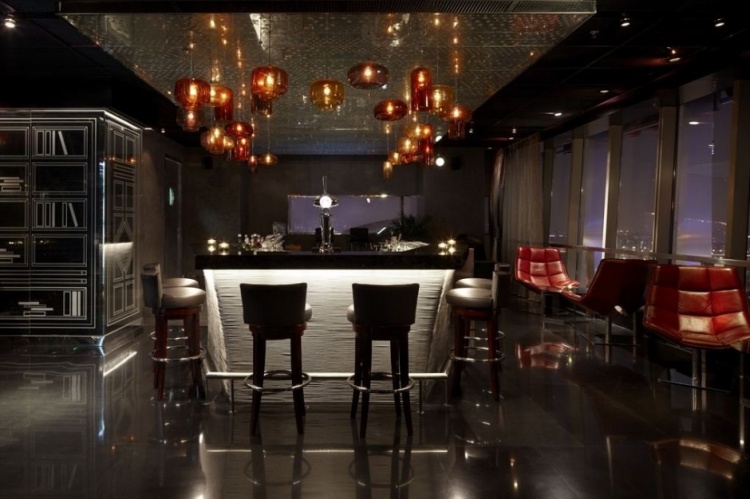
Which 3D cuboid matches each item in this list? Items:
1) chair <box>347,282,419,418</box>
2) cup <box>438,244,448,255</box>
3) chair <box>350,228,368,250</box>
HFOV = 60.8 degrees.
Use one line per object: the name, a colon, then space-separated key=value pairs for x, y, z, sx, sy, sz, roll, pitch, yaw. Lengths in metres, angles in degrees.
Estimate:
chair: x=0.079 y=1.081 z=6.789 sx=0.703 sy=1.460 sz=0.555 roll=0 pitch=1 yaw=-2
cup: x=0.808 y=-0.012 z=7.672 sx=0.160 sy=0.162 sz=0.154 roll=2 pitch=-3 yaw=0
chair: x=-0.305 y=-0.197 z=12.455 sx=0.418 sy=0.528 sz=0.405 roll=1 pitch=-2 yaw=0
